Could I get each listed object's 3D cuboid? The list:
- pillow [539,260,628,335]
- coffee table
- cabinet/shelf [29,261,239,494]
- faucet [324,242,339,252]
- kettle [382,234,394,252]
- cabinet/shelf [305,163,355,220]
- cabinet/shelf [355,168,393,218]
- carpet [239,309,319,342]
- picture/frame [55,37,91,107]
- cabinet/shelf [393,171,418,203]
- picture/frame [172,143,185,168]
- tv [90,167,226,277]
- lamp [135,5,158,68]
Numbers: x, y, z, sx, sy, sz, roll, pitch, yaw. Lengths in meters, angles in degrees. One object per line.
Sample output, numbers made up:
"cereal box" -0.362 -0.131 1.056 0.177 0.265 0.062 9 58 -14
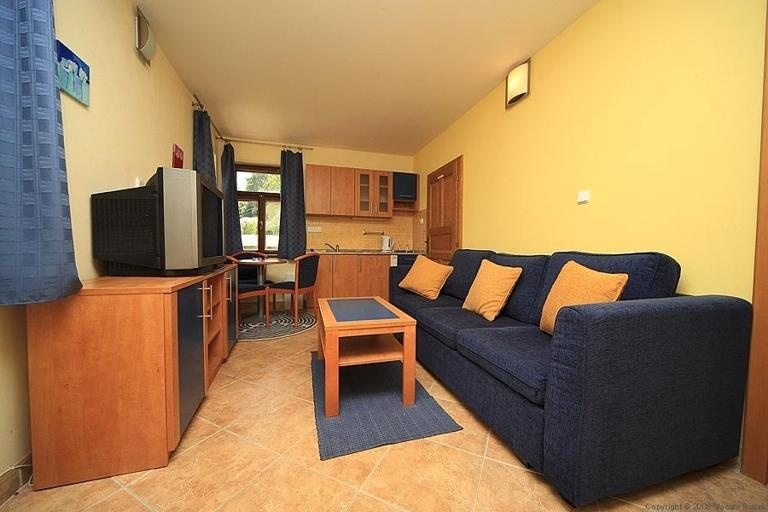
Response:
"pillow" 1.403 0.265 3.606 0.225 0.553 0.555 31 -7 -21
"coffee table" -0.146 0.657 4.020 0.685 0.609 1.246 1 0 -12
"cabinet/shelf" -1.697 0.806 3.447 1.223 1.292 0.726 -3 9 -35
"faucet" -0.669 -0.110 7.042 0.316 0.162 0.095 3 -2 -3
"kettle" 0.131 -0.178 7.173 0.251 0.250 0.164 1 0 20
"cabinet/shelf" -0.745 -0.893 6.834 0.789 0.707 0.300 1 4 -14
"cabinet/shelf" -0.155 -0.889 7.036 0.706 0.767 0.322 1 -1 -20
"carpet" -1.166 0.757 5.572 0.845 0.060 1.177 0 6 -14
"picture/frame" -2.163 -1.273 3.508 0.074 0.415 0.271 3 7 10
"cabinet/shelf" 0.295 -0.985 7.123 0.436 0.446 0.239 0 6 -10
"picture/frame" -2.043 -0.995 4.992 0.085 0.224 0.345 0 7 -17
"tv" -1.732 -0.204 3.966 0.755 0.772 1.026 0 0 -8
"lamp" -1.979 -1.845 4.168 0.107 0.397 0.449 -2 -8 -14
